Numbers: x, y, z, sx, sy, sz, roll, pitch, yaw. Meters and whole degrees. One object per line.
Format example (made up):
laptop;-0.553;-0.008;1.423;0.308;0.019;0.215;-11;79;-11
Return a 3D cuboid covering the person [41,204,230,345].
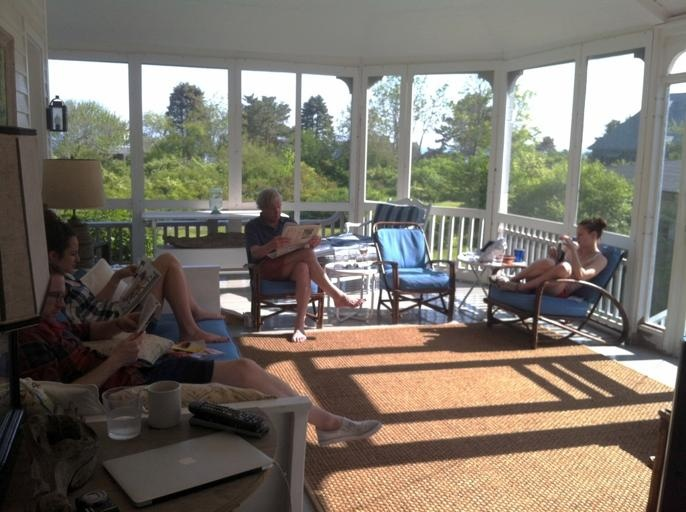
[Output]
person;-1.365;0.188;3.548;1.117;0.826;0.491;-8;13;-29

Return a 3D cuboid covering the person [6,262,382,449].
person;-0.789;0.508;2.897;1.819;1.173;0.710;0;-10;-17

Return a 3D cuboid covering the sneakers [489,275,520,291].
sneakers;1.516;0.257;5.100;0.156;0.055;0.162;15;2;39

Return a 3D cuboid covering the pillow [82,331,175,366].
pillow;-1.176;0.497;3.002;0.329;0.095;0.268;6;4;-16

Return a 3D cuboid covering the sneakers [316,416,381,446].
sneakers;0.043;0.998;3.155;0.382;0.162;0.144;-7;6;-21

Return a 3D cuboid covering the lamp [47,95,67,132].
lamp;-2.725;-1.371;5.169;0.193;0.343;0.197;-2;10;-16

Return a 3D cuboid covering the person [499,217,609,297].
person;1.952;0.005;5.042;1.002;0.791;0.608;4;9;-14

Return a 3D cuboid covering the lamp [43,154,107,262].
lamp;-2.238;-0.327;4.533;0.457;0.912;0.479;-3;5;30

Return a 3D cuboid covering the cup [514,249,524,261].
cup;1.835;-0.009;5.627;0.108;0.130;0.128;0;4;1

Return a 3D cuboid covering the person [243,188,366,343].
person;-0.435;0.050;4.958;1.043;1.272;0.709;7;9;38

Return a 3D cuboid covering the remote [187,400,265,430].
remote;-0.407;0.554;1.876;0.198;0.066;0.114;6;-1;5
